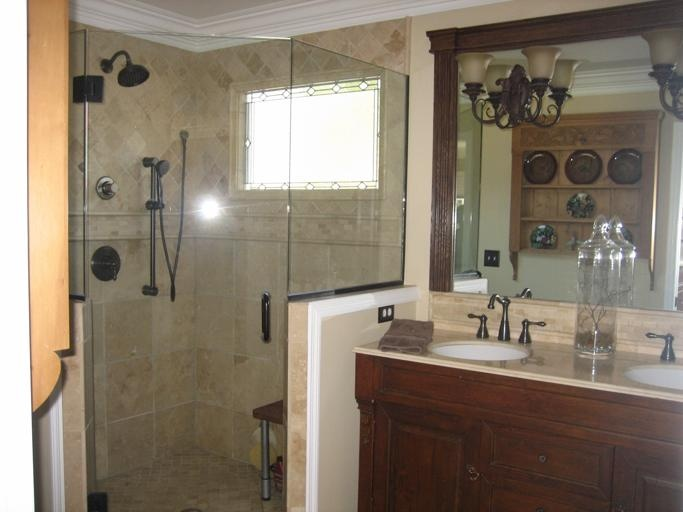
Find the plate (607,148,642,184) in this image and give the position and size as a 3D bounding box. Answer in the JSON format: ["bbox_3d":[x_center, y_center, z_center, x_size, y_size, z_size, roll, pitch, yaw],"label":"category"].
[{"bbox_3d":[1.361,-0.433,2.767,0.142,0.157,0.034,2,5,45],"label":"plate"}]

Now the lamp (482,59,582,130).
[{"bbox_3d":[0.919,-0.858,3.016,0.348,0.372,0.504,1,6,-43],"label":"lamp"}]

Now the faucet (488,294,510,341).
[{"bbox_3d":[0.839,0.326,3.066,0.122,0.235,0.185,0,3,15],"label":"faucet"}]

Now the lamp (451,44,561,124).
[{"bbox_3d":[0.920,-0.889,3.051,0.555,0.383,0.438,6,19,25],"label":"lamp"}]

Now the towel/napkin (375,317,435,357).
[{"bbox_3d":[0.334,0.407,2.926,0.232,0.111,0.329,1,3,19],"label":"towel/napkin"}]

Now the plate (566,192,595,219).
[{"bbox_3d":[1.204,-0.257,2.892,0.122,0.141,0.016,5,3,44],"label":"plate"}]

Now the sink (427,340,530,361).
[{"bbox_3d":[0.694,0.494,2.942,0.471,0.094,0.184,0,3,12],"label":"sink"}]
